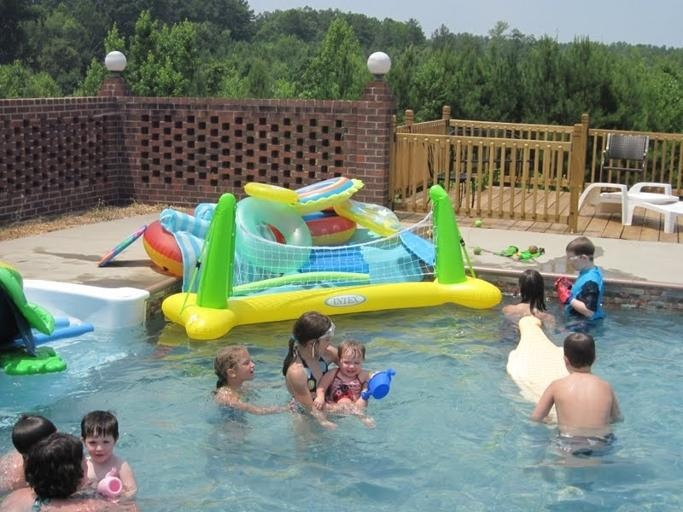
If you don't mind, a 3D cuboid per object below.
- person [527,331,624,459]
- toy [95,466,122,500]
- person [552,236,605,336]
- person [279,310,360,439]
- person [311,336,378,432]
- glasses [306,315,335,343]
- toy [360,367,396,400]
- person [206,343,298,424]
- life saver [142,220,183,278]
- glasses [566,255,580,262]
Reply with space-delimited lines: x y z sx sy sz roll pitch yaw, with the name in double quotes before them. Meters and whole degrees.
"person" 1.980 1.346 5.816 0.778 1.400 0.714 0 -1 12
"toy" -1.604 1.564 4.747 0.204 0.184 0.135 1 -31 40
"person" 2.941 0.297 8.370 0.570 1.060 0.973 4 10 20
"person" -0.282 0.970 6.130 0.490 0.946 0.568 0 9 -1
"person" 0.007 1.148 6.086 0.620 0.769 0.546 -1 11 -17
"glasses" -0.184 0.666 6.096 0.192 0.110 0.152 4 19 17
"toy" 0.328 1.110 6.039 0.324 0.226 0.114 -36 23 -10
"person" -0.777 1.077 6.310 0.764 0.572 0.618 1 16 2
"life saver" -2.372 -0.073 9.089 0.338 0.596 0.855 -5 11 -29
"glasses" 2.735 0.035 8.132 0.067 0.088 0.181 -2 10 -14
